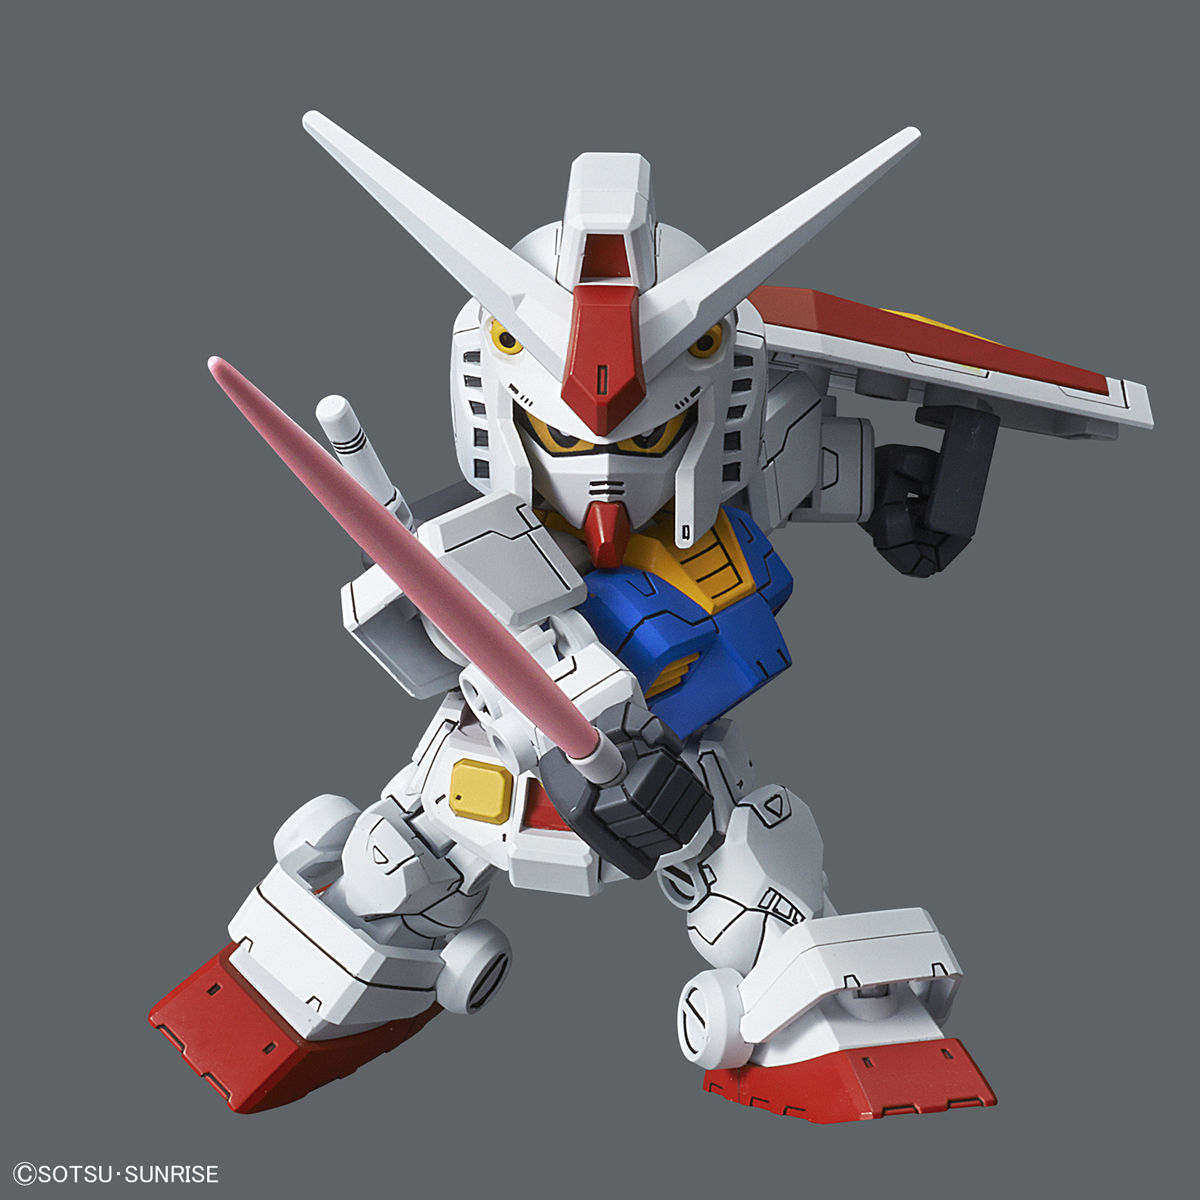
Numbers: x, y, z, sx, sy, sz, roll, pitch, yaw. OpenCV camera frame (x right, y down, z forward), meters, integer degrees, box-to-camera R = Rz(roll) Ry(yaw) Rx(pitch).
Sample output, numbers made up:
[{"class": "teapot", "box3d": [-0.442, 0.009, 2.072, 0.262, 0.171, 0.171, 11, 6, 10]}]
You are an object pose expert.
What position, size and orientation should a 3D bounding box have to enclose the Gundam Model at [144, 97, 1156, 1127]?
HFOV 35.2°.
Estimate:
[{"class": "Gundam Model", "box3d": [0.000, 0.144, 4.636, 2.892, 2.059, 1.440, -6, 23, -14]}]
